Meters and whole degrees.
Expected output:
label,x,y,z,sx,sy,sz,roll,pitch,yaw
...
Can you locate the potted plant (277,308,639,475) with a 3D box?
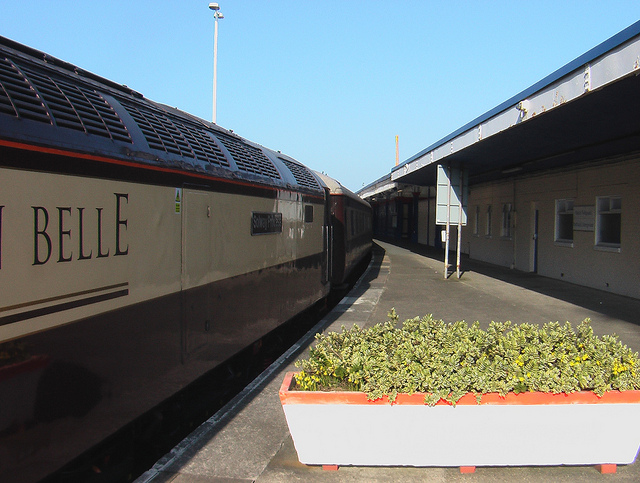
label,x,y,z,sx,sy,sz,roll,pitch,yaw
potted plant,1.473,1.680,4.962,3.534,1.303,1.313,-2,5,-9
